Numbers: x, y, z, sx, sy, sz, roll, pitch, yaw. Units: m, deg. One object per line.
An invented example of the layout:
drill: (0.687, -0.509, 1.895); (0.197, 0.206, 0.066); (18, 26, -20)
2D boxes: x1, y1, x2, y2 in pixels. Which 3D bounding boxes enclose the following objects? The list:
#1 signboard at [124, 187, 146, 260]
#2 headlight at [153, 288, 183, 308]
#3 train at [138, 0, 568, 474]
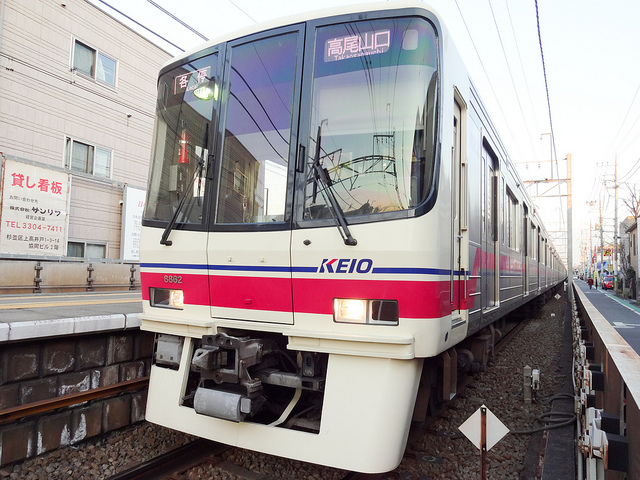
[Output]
signboard: (-6.390, -0.556, 14.359); (0.368, 2.536, 0.768); (1, 0, 10)
headlight: (-1.619, 0.608, 4.411); (0.189, 0.140, 0.289); (3, -1, 10)
train: (-0.315, -0.144, 3.943); (2.852, 4.205, 0.976); (1, 0, 24)
